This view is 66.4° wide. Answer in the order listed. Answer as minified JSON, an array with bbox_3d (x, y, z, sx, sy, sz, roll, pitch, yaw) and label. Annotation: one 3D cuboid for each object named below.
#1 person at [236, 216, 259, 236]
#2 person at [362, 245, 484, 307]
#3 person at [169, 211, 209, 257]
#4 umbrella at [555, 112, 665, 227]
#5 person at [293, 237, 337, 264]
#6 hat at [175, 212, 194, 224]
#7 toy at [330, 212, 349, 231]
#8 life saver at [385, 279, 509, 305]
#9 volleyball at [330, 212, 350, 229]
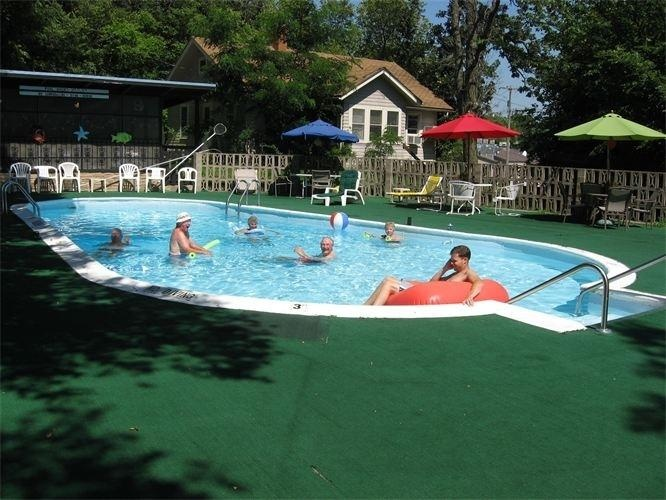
[{"bbox_3d":[-2.129,-0.653,13.094,0.466,0.535,0.799,-3,12,-26],"label":"person"},{"bbox_3d":[1.207,0.371,7.007,1.255,0.623,0.947,-2,14,-8],"label":"person"},{"bbox_3d":[-2.965,-0.354,10.506,0.702,0.933,0.699,-4,12,-29],"label":"person"},{"bbox_3d":[8.043,-3.079,14.659,2.223,1.842,1.742,0,11,-10],"label":"umbrella"},{"bbox_3d":[-0.355,-0.057,10.951,0.839,0.538,1.263,2,11,-2],"label":"person"},{"bbox_3d":[-2.995,-0.667,10.189,0.219,0.205,0.308,-3,12,-25],"label":"hat"},{"bbox_3d":[0.189,-0.834,14.194,0.480,0.459,0.464,3,7,-32],"label":"toy"},{"bbox_3d":[1.557,0.578,6.544,1.493,0.359,0.725,0,11,-14],"label":"life saver"},{"bbox_3d":[0.145,-0.836,14.172,0.470,0.450,0.455,3,7,-40],"label":"volleyball"}]
